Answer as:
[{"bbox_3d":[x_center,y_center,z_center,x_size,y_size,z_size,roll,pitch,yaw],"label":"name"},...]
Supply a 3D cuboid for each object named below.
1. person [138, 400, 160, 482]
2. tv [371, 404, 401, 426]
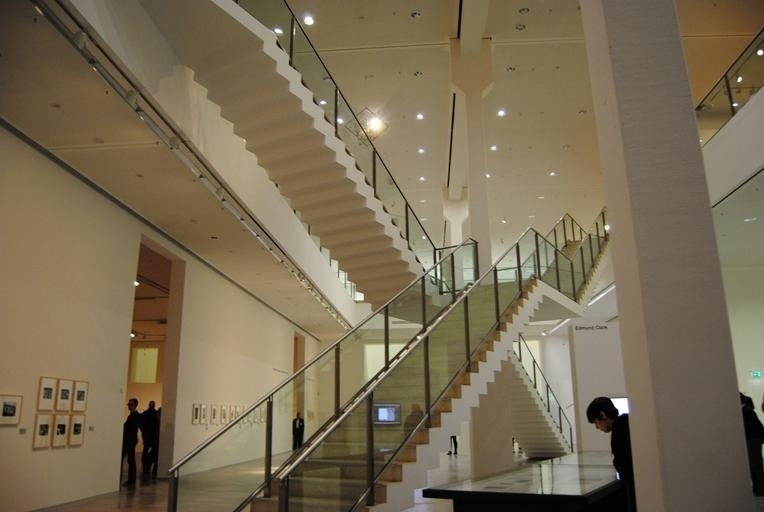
[{"bbox_3d":[-5.261,4.181,12.426,0.444,1.639,1.960,6,-24,-21],"label":"person"},{"bbox_3d":[0.070,2.045,7.156,0.066,0.261,0.544,-21,-28,38],"label":"tv"}]
